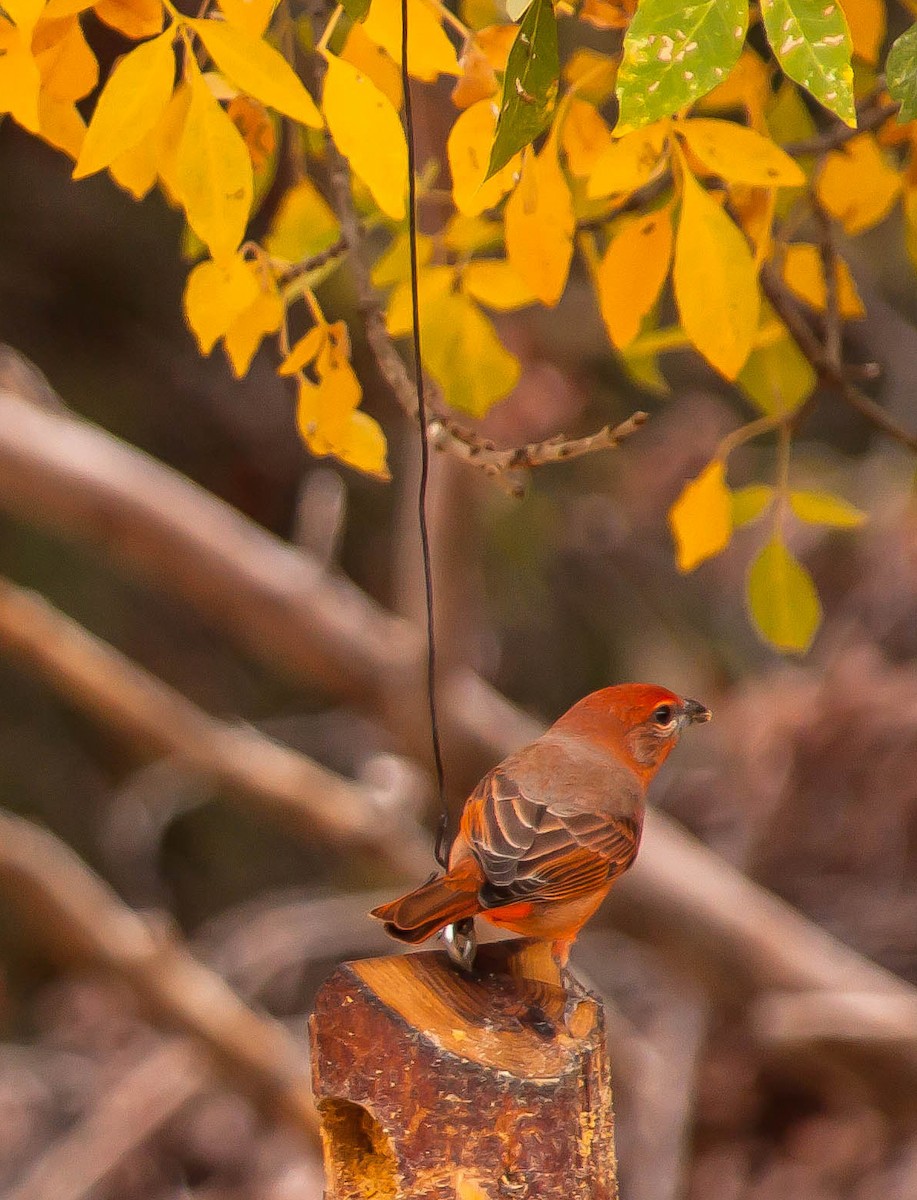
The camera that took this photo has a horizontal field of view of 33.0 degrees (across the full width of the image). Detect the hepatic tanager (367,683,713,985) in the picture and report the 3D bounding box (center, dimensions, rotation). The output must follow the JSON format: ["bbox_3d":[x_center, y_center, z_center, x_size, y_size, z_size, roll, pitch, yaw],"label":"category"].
[{"bbox_3d":[0.072,0.226,1.532,0.179,0.263,0.387,10,9,41],"label":"hepatic tanager"}]
